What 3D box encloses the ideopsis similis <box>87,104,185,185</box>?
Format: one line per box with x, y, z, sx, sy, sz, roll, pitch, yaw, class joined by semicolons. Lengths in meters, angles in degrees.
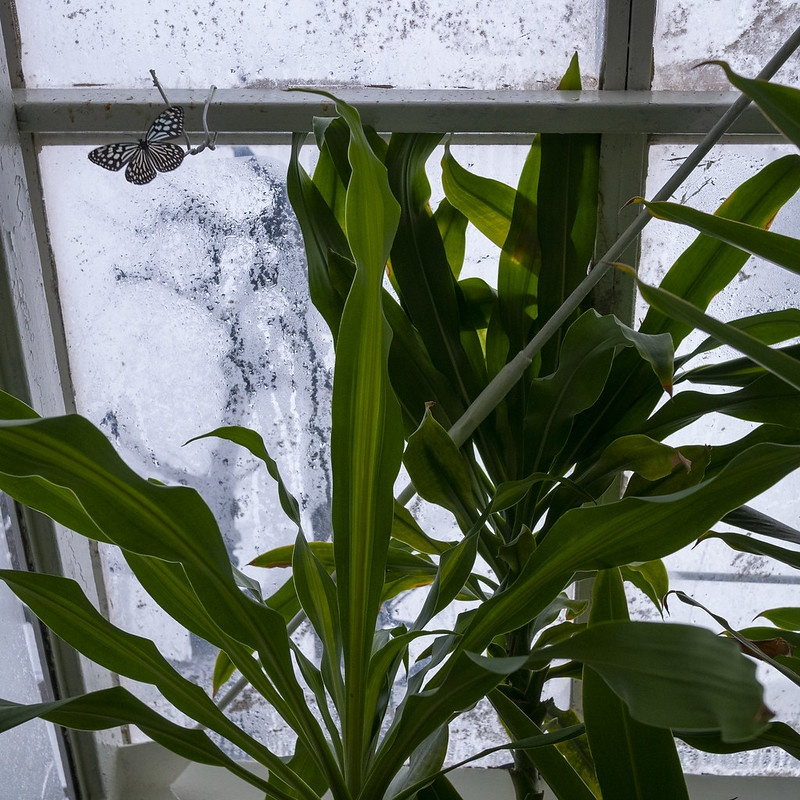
-0.352;-0.364;1.507;0.071;0.186;0.014;-3;-45;8;ideopsis similis
